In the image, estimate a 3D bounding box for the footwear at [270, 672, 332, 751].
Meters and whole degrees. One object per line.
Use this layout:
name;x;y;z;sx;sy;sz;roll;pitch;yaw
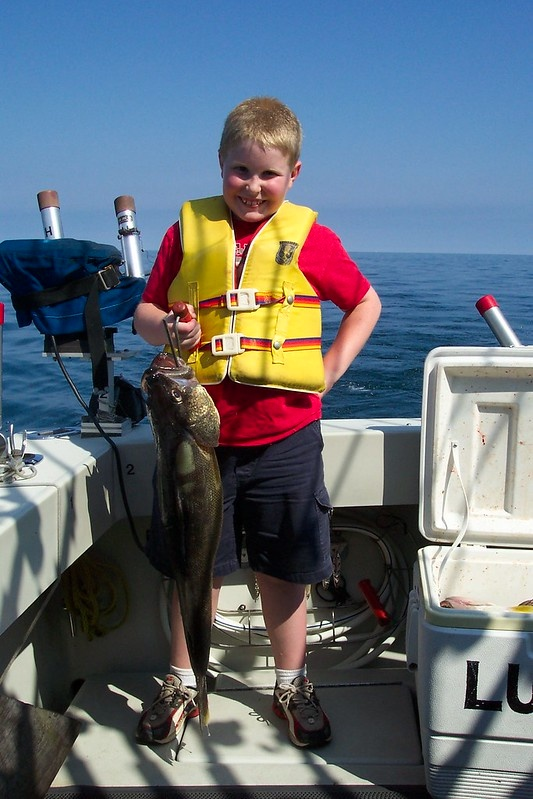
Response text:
footwear;0.094;0.928;2.203;0.119;0.113;0.250;0;-2;-13

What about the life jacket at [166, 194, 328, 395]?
life jacket;-0.064;-0.297;1.994;0.422;0.549;0.236;-1;6;3

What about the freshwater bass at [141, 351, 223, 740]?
freshwater bass;-0.194;0.351;1.787;0.170;0.933;0.241;-2;6;-4

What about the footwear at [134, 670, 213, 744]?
footwear;-0.273;0.924;2.278;0.134;0.151;0.333;4;3;14

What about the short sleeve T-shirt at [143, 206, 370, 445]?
short sleeve T-shirt;-0.045;-0.199;1.941;0.763;0.687;0.382;0;5;2
